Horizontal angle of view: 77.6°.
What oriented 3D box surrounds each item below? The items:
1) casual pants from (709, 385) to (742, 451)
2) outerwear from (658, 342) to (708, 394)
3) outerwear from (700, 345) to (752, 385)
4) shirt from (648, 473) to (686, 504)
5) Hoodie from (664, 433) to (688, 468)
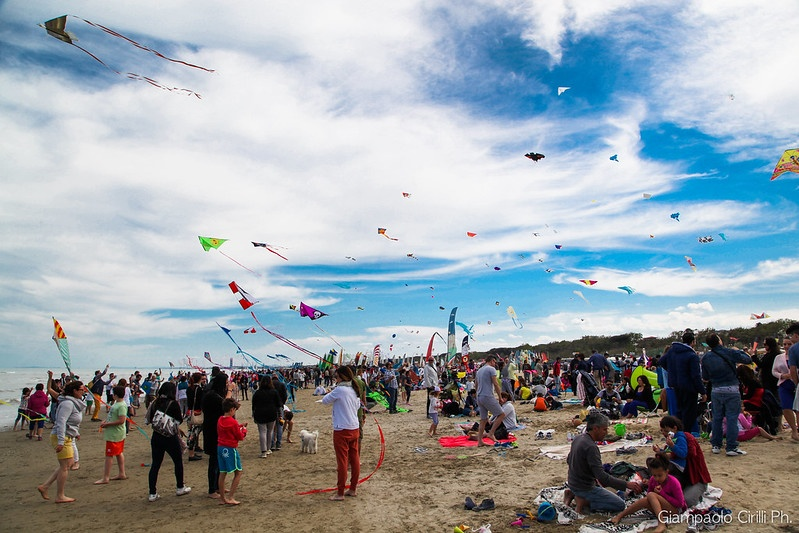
[{"bbox_3d":[7.700,3.570,11.568,0.535,1.392,0.687,18,-21,-19],"label":"casual pants"},{"bbox_3d":[6.768,2.425,11.825,0.716,1.043,1.261,6,-5,-11],"label":"outerwear"},{"bbox_3d":[7.719,2.420,11.807,1.105,0.748,1.084,-21,-17,27],"label":"outerwear"},{"bbox_3d":[4.952,4.158,9.188,0.458,0.344,0.302,-29,-44,23],"label":"shirt"},{"bbox_3d":[5.295,3.508,9.405,0.383,0.647,0.204,-11,-14,20],"label":"Hoodie"}]
